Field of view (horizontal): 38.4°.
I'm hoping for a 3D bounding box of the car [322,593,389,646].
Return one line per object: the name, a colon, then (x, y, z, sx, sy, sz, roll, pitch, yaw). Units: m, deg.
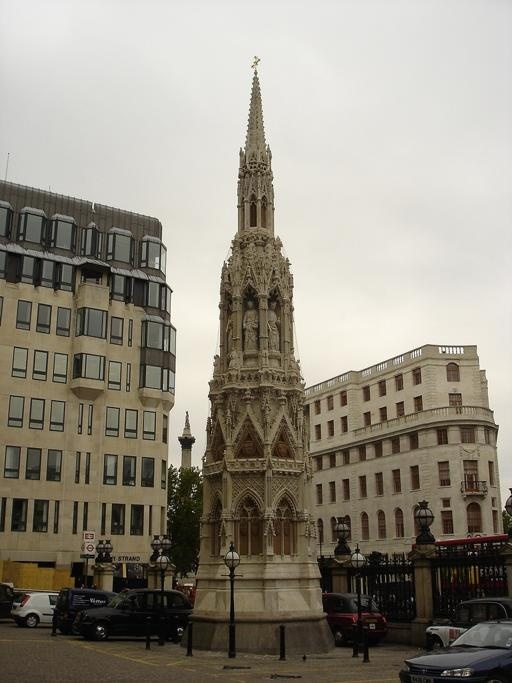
car: (3.525, 8.720, 23.129, 1.686, 1.633, 3.546, 6, -18, -16)
